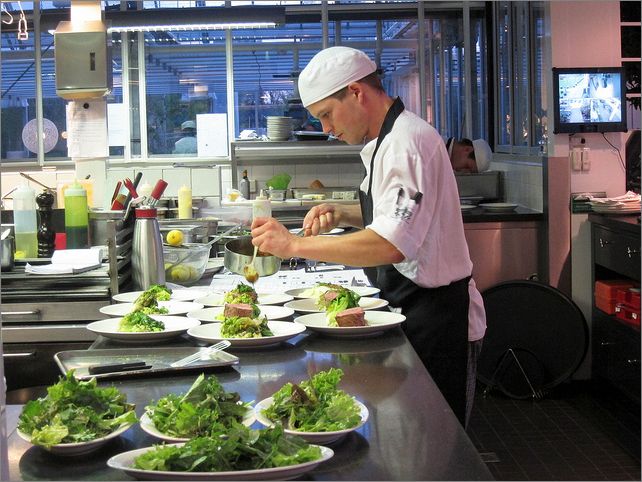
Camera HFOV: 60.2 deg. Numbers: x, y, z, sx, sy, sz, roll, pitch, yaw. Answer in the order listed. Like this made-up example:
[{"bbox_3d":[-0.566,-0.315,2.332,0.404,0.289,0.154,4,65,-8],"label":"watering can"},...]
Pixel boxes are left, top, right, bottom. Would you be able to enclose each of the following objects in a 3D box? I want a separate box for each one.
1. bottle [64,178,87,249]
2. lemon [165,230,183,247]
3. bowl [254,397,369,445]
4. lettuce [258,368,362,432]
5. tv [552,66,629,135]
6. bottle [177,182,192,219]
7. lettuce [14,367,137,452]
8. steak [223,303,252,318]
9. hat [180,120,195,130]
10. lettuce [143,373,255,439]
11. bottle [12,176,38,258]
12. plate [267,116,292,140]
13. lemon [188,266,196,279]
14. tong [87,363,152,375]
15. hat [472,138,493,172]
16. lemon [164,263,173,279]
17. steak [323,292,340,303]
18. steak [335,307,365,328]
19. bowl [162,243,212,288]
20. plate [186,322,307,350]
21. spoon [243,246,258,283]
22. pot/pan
[{"bbox_3d":[-1.040,-0.106,2.352,0.096,0.268,0.171,-4,8,-25],"label":"bottle"},{"bbox_3d":[-0.608,-0.013,2.335,0.061,0.065,0.062,10,0,5],"label":"lemon"},{"bbox_3d":[-0.004,0.347,0.996,0.156,0.035,0.168,-10,-21,-4],"label":"bowl"},{"bbox_3d":[-0.015,0.276,1.003,0.098,0.051,0.104,1,5,30],"label":"lettuce"},{"bbox_3d":[1.849,-0.976,3.789,0.437,0.408,0.049,0,-2,2],"label":"tv"},{"bbox_3d":[-0.809,-0.239,3.301,0.071,0.202,0.256,-2,8,-14],"label":"bottle"},{"bbox_3d":[-0.435,0.308,0.977,0.159,0.093,0.163,2,9,-1],"label":"lettuce"},{"bbox_3d":[-0.225,0.198,1.533,0.070,0.035,0.096,-4,9,-23],"label":"steak"},{"bbox_3d":[-1.721,-1.515,7.170,0.199,0.120,0.028,1,7,14],"label":"hat"},{"bbox_3d":[-0.222,0.297,0.956,0.117,0.062,0.119,0,7,1],"label":"lettuce"},{"bbox_3d":[-1.301,-0.089,2.432,0.093,0.321,0.285,-5,8,-29],"label":"bottle"},{"bbox_3d":[-0.414,-1.110,5.464,0.224,0.200,0.224,4,8,36],"label":"plate"},{"bbox_3d":[-0.527,0.131,2.276,0.028,0.029,0.037,4,-39,-5],"label":"lemon"},{"bbox_3d":[-0.464,0.291,1.270,0.084,0.012,0.051,-1,0,-10],"label":"tong"},{"bbox_3d":[1.519,-0.791,5.183,0.212,0.285,0.213,2,-5,31],"label":"hat"},{"bbox_3d":[-0.626,0.122,2.271,0.046,0.058,0.047,0,4,-6],"label":"lemon"},{"bbox_3d":[0.028,0.176,1.723,0.032,0.011,0.033,-2,22,44],"label":"steak"},{"bbox_3d":[0.084,0.219,1.552,0.085,0.047,0.076,0,8,3],"label":"steak"},{"bbox_3d":[-0.594,0.105,2.361,0.232,0.157,0.246,4,2,0],"label":"bowl"},{"bbox_3d":[-0.198,0.262,1.512,0.319,0.048,0.189,-2,8,-12],"label":"plate"},{"bbox_3d":[-0.246,0.094,1.971,0.037,0.167,0.022,18,-34,-20],"label":"spoon"},{"bbox_3d":[-0.202,0.046,1.974,0.178,0.126,0.310,7,-2,7],"label":"pot/pan"}]
